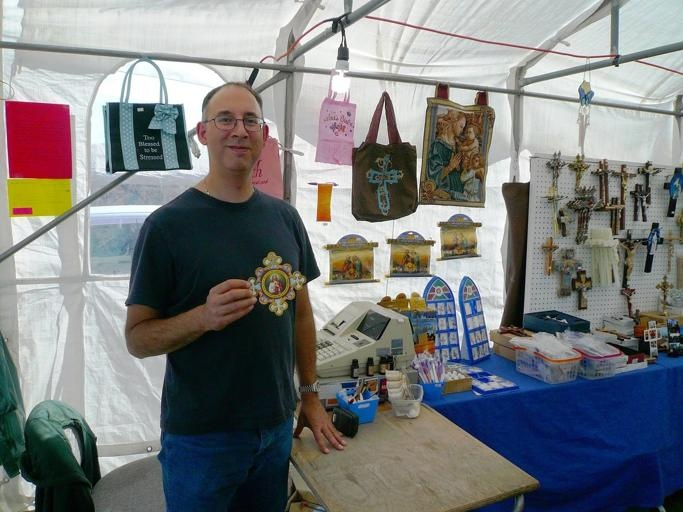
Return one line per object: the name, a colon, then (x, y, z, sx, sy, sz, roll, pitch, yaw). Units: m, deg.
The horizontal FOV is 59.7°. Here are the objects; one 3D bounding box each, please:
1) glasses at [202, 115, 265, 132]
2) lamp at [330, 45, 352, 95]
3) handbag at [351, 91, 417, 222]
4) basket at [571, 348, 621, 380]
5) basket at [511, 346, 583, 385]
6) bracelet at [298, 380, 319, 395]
glasses: (-0.471, -0.575, 2.602, 0.260, 0.073, 0.095, -1, 2, -11)
lamp: (0.004, -1.060, 3.316, 0.080, 0.203, 0.080, 9, 16, 31)
handbag: (0.281, -0.663, 4.025, 0.499, 0.851, 0.184, -2, 2, -25)
basket: (1.628, 0.699, 3.830, 0.170, 0.106, 0.245, -1, -3, -3)
basket: (1.283, 0.706, 3.805, 0.206, 0.124, 0.280, -1, 1, -27)
bracelet: (-0.168, 0.650, 2.965, 0.085, 0.051, 0.083, -4, -10, -11)
